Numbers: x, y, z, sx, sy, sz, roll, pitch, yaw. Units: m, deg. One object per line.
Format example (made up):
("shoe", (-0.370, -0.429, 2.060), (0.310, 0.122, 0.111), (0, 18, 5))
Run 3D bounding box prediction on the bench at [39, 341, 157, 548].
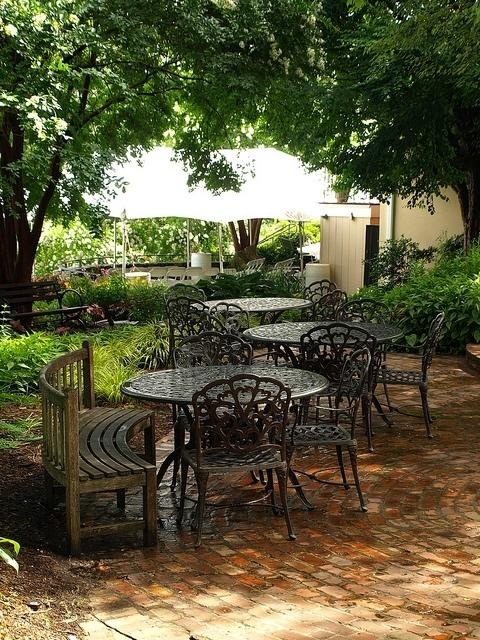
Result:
("bench", (-0.849, 0.744, 3.224), (0.381, 0.456, 0.973), (-3, 10, -9))
